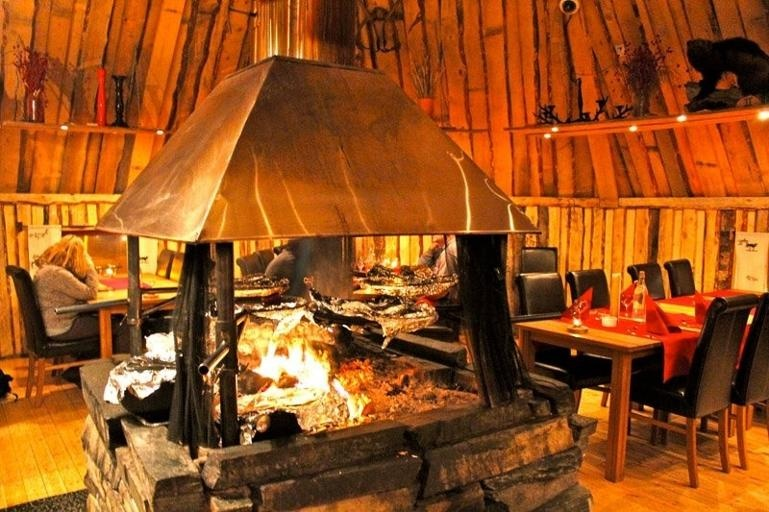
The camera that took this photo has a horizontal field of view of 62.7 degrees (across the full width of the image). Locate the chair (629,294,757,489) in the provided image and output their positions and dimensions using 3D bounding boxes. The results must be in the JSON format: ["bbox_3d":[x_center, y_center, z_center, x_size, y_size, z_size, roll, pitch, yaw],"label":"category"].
[{"bbox_3d":[2.182,0.872,4.439,0.812,1.300,0.422,-1,14,-8],"label":"chair"}]

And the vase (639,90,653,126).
[{"bbox_3d":[2.322,-1.379,5.651,0.087,0.229,0.395,6,15,21],"label":"vase"}]

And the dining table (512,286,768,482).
[{"bbox_3d":[1.716,0.651,4.902,1.556,1.234,1.239,-6,9,-40],"label":"dining table"}]

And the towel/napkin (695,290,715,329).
[{"bbox_3d":[2.388,0.402,4.739,0.086,0.234,0.223,6,1,-1],"label":"towel/napkin"}]

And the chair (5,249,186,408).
[{"bbox_3d":[-2.781,0.625,5.459,1.369,1.254,0.787,7,15,23],"label":"chair"}]

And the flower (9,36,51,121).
[{"bbox_3d":[-3.188,-1.623,5.746,0.290,0.736,0.157,-3,14,-13],"label":"flower"}]

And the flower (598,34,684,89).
[{"bbox_3d":[2.573,-1.965,6.222,0.723,0.412,0.561,-19,-12,-11],"label":"flower"}]

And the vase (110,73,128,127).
[{"bbox_3d":[-2.566,-1.543,6.145,0.163,0.506,0.339,-5,15,-21],"label":"vase"}]

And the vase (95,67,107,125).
[{"bbox_3d":[-2.718,-1.572,6.085,0.134,0.546,0.265,-5,15,-23],"label":"vase"}]
